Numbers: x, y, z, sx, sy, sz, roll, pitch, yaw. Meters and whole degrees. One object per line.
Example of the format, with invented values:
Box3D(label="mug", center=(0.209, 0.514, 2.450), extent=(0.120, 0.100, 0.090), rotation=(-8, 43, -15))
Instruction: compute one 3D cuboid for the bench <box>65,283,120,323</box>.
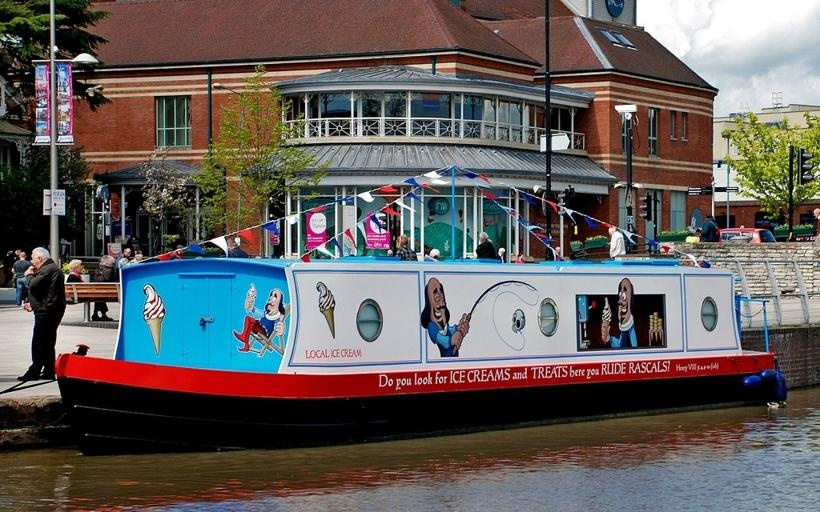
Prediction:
Box3D(label="bench", center=(-9.591, 1.642, 50.788), extent=(1.544, 1.686, 1.070), rotation=(1, 0, 23))

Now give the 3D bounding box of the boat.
Box3D(label="boat", center=(-0.109, 2.212, 41.976), extent=(17.409, 4.679, 1.854), rotation=(-3, 7, -14))

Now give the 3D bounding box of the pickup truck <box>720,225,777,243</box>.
Box3D(label="pickup truck", center=(14.049, -0.865, 68.912), extent=(2.180, 1.051, 1.320), rotation=(3, 2, 27))
